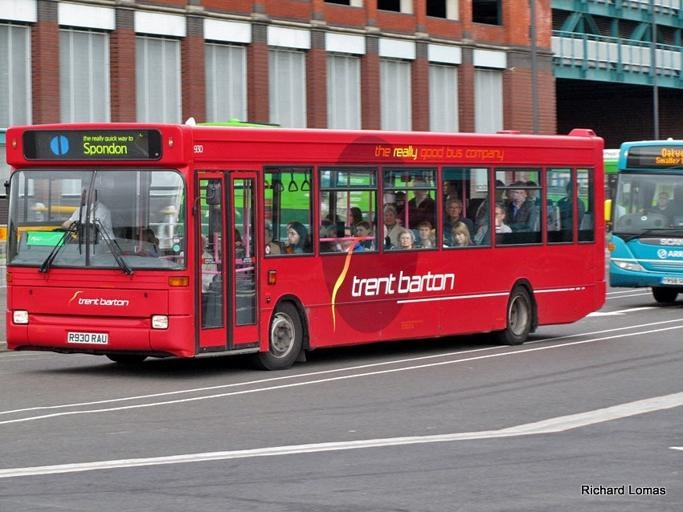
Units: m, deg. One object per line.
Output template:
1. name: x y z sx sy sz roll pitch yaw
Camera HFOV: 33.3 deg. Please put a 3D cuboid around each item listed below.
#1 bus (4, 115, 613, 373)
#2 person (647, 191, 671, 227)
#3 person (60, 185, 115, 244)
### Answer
1. bus: 0.071 -0.298 17.281 10.032 3.523 2.423 -2 4 -39
2. person: 6.961 -1.055 24.954 0.417 0.771 0.276 9 14 32
3. person: -3.153 -0.540 14.428 0.550 0.715 0.206 3 0 23
